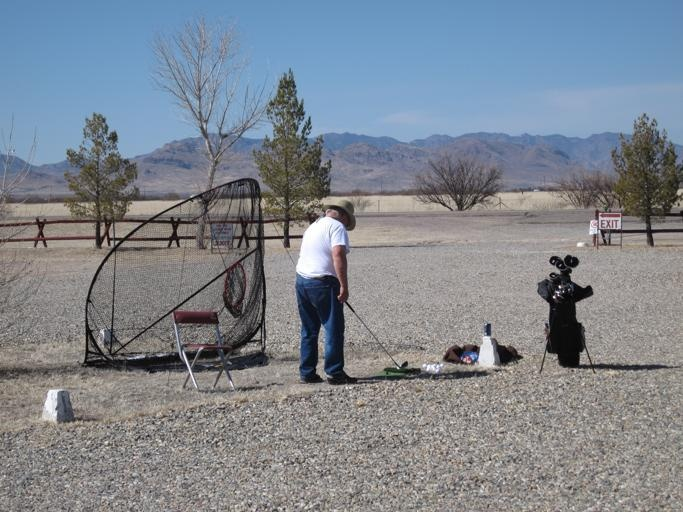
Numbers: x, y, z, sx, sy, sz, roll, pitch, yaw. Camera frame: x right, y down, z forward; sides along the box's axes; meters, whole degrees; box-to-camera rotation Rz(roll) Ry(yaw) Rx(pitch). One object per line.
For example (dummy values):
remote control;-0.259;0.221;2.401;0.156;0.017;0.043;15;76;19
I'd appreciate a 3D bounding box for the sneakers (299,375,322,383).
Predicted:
sneakers;-0.431;1.693;8.784;0.265;0.131;0.121;-4;-4;32

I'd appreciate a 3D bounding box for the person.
person;-0.235;0.513;8.607;0.755;2.476;0.729;-1;6;3

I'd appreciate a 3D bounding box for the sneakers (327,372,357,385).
sneakers;0.004;1.634;8.682;0.422;0.207;0.162;-1;1;-21

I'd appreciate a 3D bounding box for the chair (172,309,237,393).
chair;-1.941;1.355;9.101;0.946;1.182;0.969;-2;-6;17
